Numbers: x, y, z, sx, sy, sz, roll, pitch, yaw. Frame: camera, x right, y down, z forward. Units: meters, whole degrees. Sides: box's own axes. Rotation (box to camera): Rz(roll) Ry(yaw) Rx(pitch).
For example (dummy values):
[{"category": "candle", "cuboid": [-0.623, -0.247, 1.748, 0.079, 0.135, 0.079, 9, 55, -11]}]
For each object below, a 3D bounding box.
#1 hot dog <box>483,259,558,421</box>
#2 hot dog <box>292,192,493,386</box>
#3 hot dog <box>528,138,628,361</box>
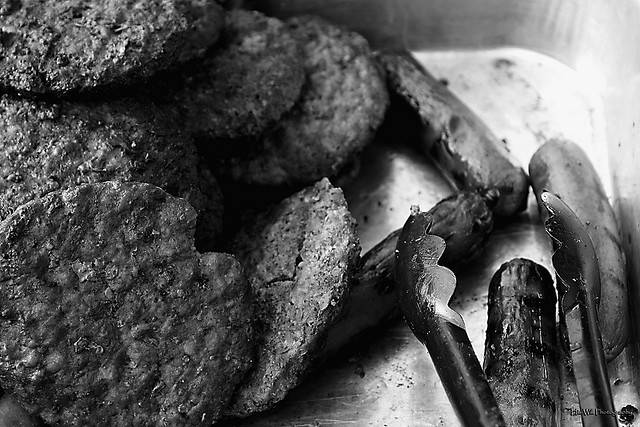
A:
[{"category": "hot dog", "cuboid": [0.547, 0.326, 2.369, 0.214, 0.551, 0.137, 8, -34, 11]}, {"category": "hot dog", "cuboid": [0.189, 0.221, 2.328, 0.528, 0.147, 0.131, -44, -44, 4]}, {"category": "hot dog", "cuboid": [0.730, 0.075, 2.451, 0.333, 0.580, 0.109, 21, -33, -8]}]
